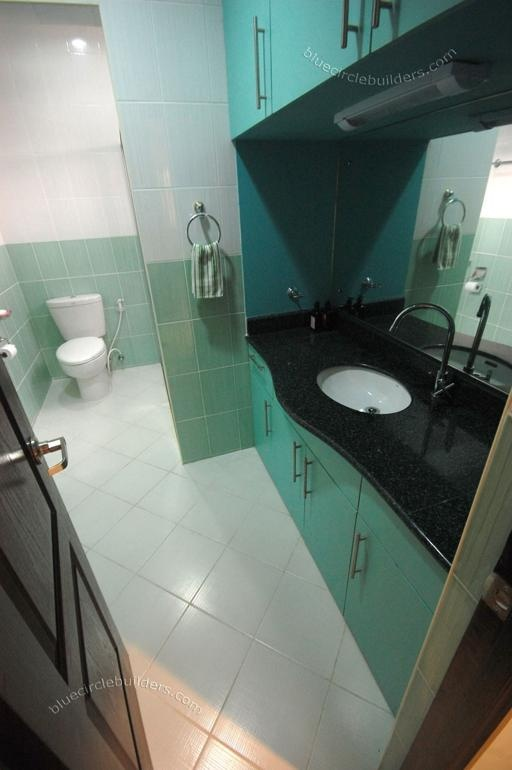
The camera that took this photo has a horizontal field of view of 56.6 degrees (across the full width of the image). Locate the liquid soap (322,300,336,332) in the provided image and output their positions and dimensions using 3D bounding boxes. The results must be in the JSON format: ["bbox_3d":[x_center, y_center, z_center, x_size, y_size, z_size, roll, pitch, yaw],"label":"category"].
[{"bbox_3d":[0.336,-0.310,2.175,0.069,0.148,0.077,-5,32,-7],"label":"liquid soap"}]

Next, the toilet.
[{"bbox_3d":[-1.179,-0.236,3.213,0.318,0.619,0.558,-9,28,-9],"label":"toilet"}]

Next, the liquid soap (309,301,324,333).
[{"bbox_3d":[0.278,-0.311,2.170,0.050,0.160,0.060,-8,37,-12],"label":"liquid soap"}]

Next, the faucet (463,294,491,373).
[{"bbox_3d":[0.624,-0.139,1.341,0.026,0.235,0.044,-10,28,-11],"label":"faucet"}]

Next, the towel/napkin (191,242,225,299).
[{"bbox_3d":[-0.202,-0.465,1.987,0.147,0.258,0.126,-6,28,-3],"label":"towel/napkin"}]
